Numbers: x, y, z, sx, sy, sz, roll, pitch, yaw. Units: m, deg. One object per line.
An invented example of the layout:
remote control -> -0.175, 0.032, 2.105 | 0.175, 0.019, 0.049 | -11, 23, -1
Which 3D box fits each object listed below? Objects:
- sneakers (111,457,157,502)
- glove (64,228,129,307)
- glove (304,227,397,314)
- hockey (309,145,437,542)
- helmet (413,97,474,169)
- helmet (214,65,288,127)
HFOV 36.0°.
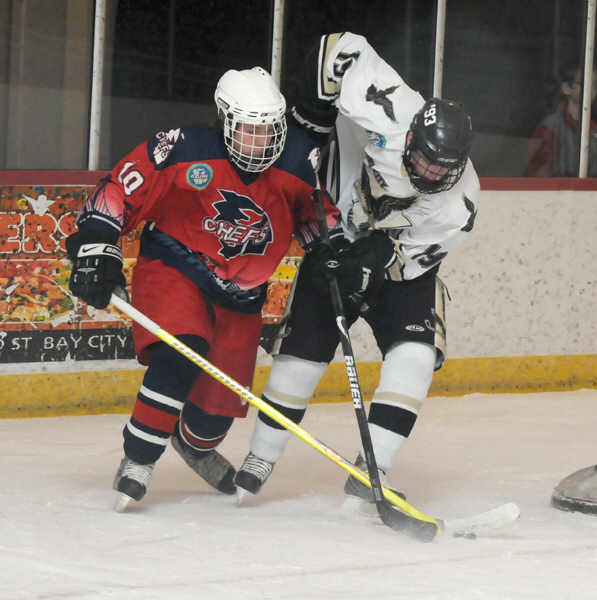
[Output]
sneakers -> -0.474, 0.517, 2.649 | 0.107, 0.111, 0.094 | 1, 6, -8
glove -> -0.556, -0.088, 2.551 | 0.168, 0.208, 0.091 | 10, -19, -24
glove -> 0.148, -0.096, 2.736 | 0.199, 0.264, 0.113 | 50, 3, 1
hockey -> 0.171, 0.281, 2.671 | 0.212, 1.507, 0.182 | 0, -16, -32
helmet -> 0.403, -0.466, 2.649 | 0.173, 0.193, 0.175 | 5, -18, -23
helmet -> -0.119, -0.588, 2.627 | 0.194, 0.176, 0.163 | 23, 36, 38
